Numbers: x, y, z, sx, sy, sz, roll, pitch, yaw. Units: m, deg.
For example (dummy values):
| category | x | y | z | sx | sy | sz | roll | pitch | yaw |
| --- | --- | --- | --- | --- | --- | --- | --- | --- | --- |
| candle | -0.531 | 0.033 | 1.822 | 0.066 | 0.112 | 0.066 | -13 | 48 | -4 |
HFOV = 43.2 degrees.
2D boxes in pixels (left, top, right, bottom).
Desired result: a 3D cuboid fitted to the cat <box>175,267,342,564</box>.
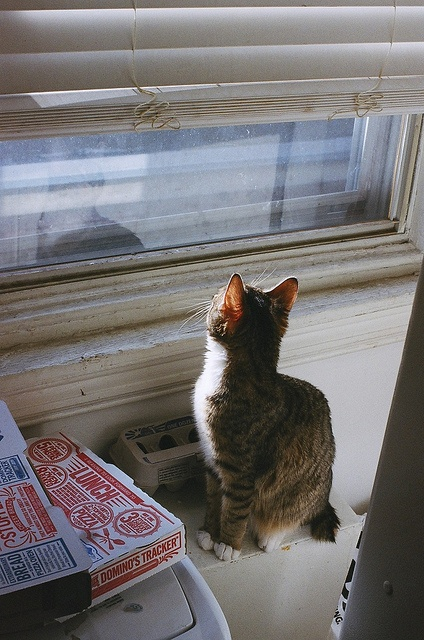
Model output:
| category | x | y | z | sx | sy | sz | roll | pitch | yaw |
| --- | --- | --- | --- | --- | --- | --- | --- | --- | --- |
| cat | 0.094 | 0.129 | 0.771 | 0.230 | 0.392 | 0.136 | -1 | 18 | -26 |
